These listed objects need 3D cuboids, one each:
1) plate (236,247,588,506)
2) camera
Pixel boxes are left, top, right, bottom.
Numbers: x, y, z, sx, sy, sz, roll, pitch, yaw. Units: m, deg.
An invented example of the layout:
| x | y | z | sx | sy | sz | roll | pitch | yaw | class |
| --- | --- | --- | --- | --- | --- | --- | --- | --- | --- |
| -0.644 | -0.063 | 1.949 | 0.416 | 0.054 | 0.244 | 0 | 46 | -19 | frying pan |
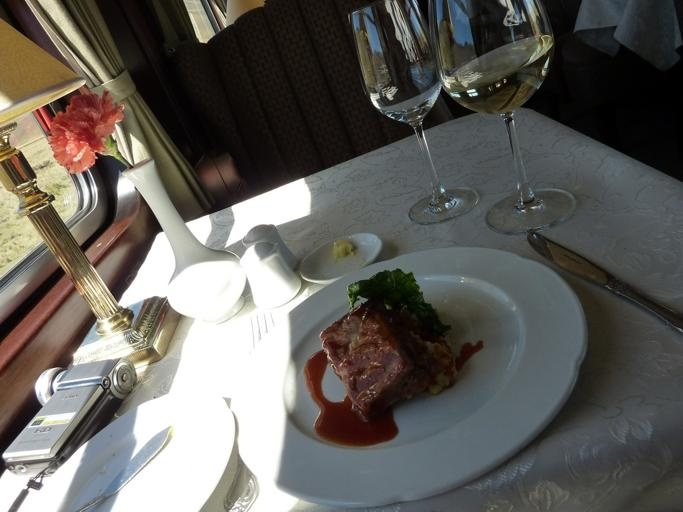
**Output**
| x | y | z | sx | sy | sz | roll | pitch | yaw | class |
| --- | --- | --- | --- | --- | --- | --- | --- | --- | --- |
| 0.072 | 0.125 | 0.610 | 0.464 | 0.056 | 0.371 | -17 | 41 | 6 | plate |
| -0.416 | 0.241 | 0.748 | 0.176 | 0.075 | 0.202 | -2 | 37 | 36 | camera |
